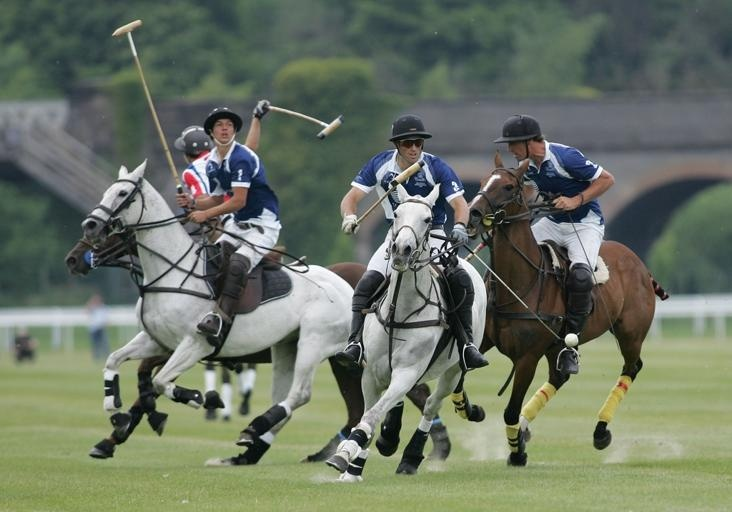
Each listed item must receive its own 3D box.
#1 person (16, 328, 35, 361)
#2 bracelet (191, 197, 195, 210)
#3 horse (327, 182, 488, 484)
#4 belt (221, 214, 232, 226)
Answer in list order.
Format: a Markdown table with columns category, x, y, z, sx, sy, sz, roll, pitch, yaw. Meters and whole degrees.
| category | x | y | z | sx | sy | sz | roll | pitch | yaw |
| --- | --- | --- | --- | --- | --- | --- | --- | --- | --- |
| person | -9.478 | 2.472 | 43.300 | 0.494 | 0.924 | 1.336 | -2 | 1 | -13 |
| bracelet | -3.239 | -1.021 | 29.241 | 0.047 | 0.157 | 0.103 | 0 | -2 | 14 |
| horse | 0.691 | 1.379 | 28.104 | 2.414 | 5.379 | 1.209 | -2 | 1 | -35 |
| belt | -2.663 | -0.723 | 29.679 | 0.221 | 0.080 | 0.178 | -32 | 17 | 25 |
